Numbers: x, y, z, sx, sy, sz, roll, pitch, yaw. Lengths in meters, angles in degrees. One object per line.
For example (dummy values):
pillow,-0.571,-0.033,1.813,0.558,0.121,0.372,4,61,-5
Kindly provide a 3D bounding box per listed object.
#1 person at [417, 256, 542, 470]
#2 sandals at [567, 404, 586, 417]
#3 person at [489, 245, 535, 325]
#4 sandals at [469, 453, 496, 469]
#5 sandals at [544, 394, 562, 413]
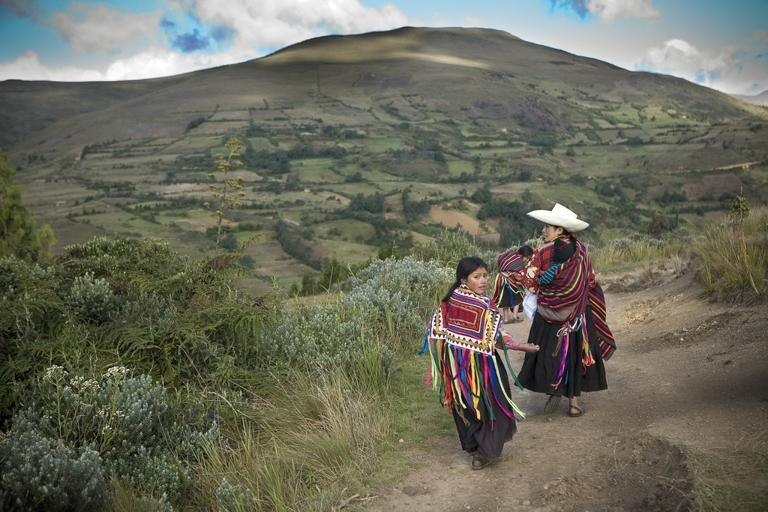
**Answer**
person,1.068,1.215,6.638,0.618,2.403,0.929,-13,17,-36
sandals,2.531,2.017,7.344,0.123,0.093,0.237,-20,2,19
person,2.352,0.463,10.075,0.776,1.418,0.715,7,6,39
sandals,1.171,2.409,6.589,0.326,0.135,0.133,-7,8,-39
sandals,2.254,1.973,7.483,0.056,0.231,0.248,20,26,40
